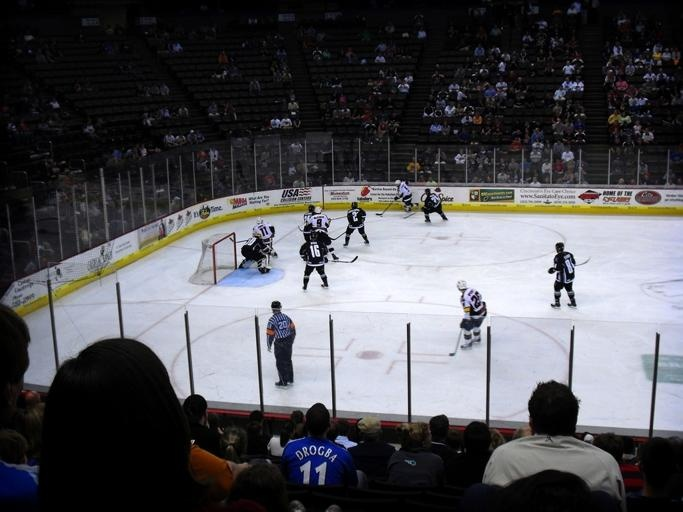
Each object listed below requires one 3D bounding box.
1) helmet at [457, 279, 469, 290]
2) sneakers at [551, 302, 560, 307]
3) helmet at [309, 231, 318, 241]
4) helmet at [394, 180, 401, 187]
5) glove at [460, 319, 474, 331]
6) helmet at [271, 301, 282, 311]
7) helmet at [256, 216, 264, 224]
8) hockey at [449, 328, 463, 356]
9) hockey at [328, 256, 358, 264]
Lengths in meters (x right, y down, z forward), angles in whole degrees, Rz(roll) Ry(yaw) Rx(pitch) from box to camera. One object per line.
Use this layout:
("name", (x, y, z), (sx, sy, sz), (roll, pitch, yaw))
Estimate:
("helmet", (2.350, 0.576, 12.867), (0.150, 0.196, 0.323), (0, 1, 16))
("sneakers", (4.883, 1.107, 15.108), (0.187, 0.125, 0.190), (0, 1, 24))
("helmet", (-0.680, -0.498, 16.701), (0.196, 0.242, 0.251), (5, -4, 3))
("helmet", (2.292, -2.968, 26.829), (0.222, 0.197, 0.245), (3, 8, -4))
("glove", (1.848, 1.008, 9.769), (0.111, 0.156, 0.281), (0, 1, 39))
("helmet", (-0.995, 0.767, 10.213), (0.130, 0.150, 0.163), (1, 11, 0))
("helmet", (-2.282, -1.011, 18.838), (0.322, 0.214, 0.403), (-1, -1, 2))
("hockey", (1.674, 1.257, 9.566), (0.231, 0.372, 0.094), (-2, 2, -36))
("hockey", (0.060, 0.114, 19.725), (0.140, 0.219, 1.110), (-3, 6, -37))
